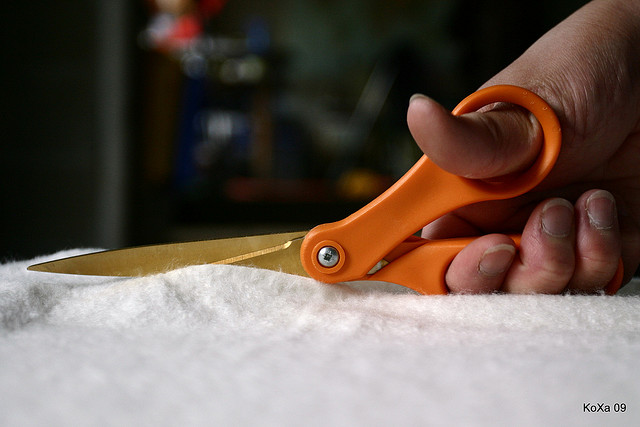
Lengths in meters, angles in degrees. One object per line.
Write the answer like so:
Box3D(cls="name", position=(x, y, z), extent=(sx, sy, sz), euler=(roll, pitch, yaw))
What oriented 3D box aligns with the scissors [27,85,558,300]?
Box3D(cls="scissors", position=(-0.012, -0.001, 0.905), extent=(0.552, 0.254, 0.239), euler=(-4, -49, 0))
